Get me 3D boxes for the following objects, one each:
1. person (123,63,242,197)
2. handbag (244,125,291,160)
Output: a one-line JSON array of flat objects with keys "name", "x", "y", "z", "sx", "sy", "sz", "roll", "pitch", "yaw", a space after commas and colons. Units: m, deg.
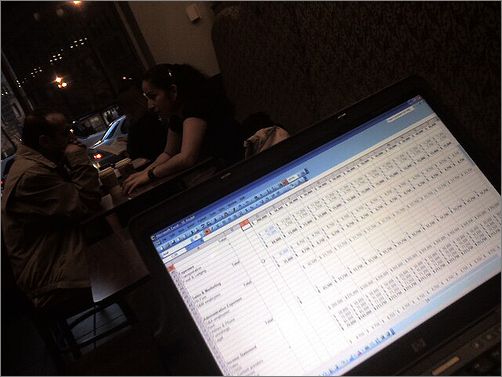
[{"name": "person", "x": -0.575, "y": -0.402, "z": 2.734, "sx": 0.880, "sy": 0.865, "sz": 0.579, "roll": -12, "pitch": 5, "yaw": -20}, {"name": "handbag", "x": 0.087, "y": -0.174, "z": 1.508, "sx": 0.174, "sy": 0.063, "sz": 0.133, "roll": -30, "pitch": 23, "yaw": -19}]
